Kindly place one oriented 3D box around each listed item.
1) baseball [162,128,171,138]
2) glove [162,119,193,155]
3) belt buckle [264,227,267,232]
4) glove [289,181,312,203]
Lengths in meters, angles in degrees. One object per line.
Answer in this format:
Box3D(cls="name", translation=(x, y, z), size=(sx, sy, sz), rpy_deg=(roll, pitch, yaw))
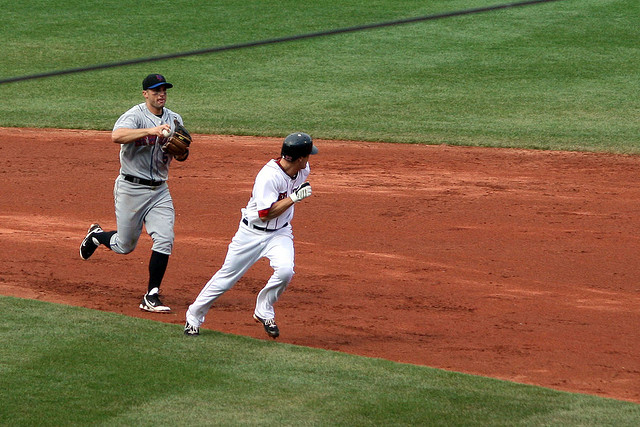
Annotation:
Box3D(cls="baseball", translation=(-2.339, -1.226, 13.880), size=(0.173, 0.053, 0.181), rpy_deg=(-2, -19, 4))
Box3D(cls="glove", translation=(-2.214, -1.177, 14.262), size=(0.397, 0.551, 0.326), rpy_deg=(9, 11, 1))
Box3D(cls="belt buckle", translation=(-0.835, 0.243, 13.480), size=(0.024, 0.058, 0.003), rpy_deg=(8, 13, -12))
Box3D(cls="glove", translation=(-0.300, -0.324, 13.280), size=(0.140, 0.355, 0.314), rpy_deg=(52, 9, -25))
